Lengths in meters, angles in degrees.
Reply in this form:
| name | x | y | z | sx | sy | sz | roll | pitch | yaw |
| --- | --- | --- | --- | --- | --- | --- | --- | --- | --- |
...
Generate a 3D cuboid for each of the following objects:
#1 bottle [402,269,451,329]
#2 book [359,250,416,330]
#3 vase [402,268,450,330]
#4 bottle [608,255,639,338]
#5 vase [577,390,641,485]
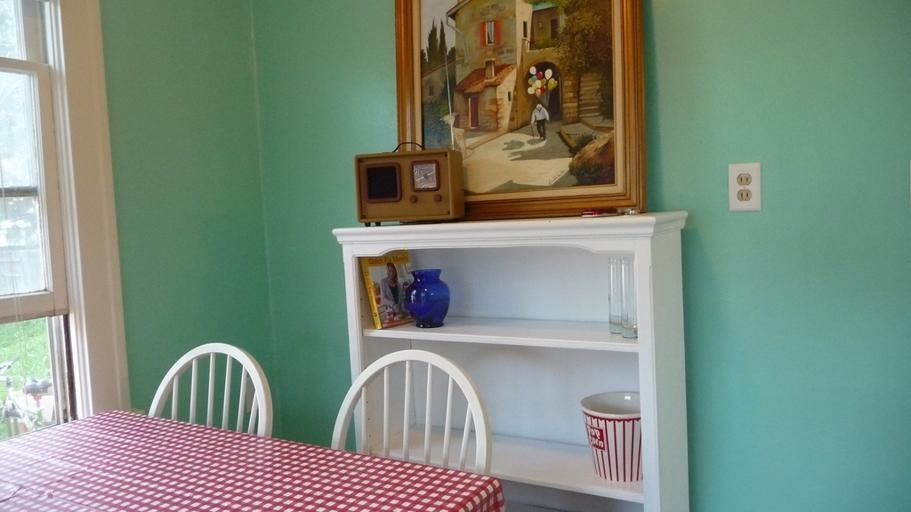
| name | x | y | z | sx | sy | sz | roll | pitch | yaw |
| --- | --- | --- | --- | --- | --- | --- | --- | --- | --- |
| bottle | -0.127 | 0.200 | 2.949 | 0.227 | 0.244 | 0.221 | -4 | 2 | -37 |
| book | -0.323 | 0.172 | 2.934 | 0.336 | 0.345 | 0.060 | -14 | 1 | -39 |
| vase | -0.125 | 0.197 | 2.948 | 0.224 | 0.241 | 0.222 | -2 | 1 | -31 |
| bottle | 0.708 | 0.168 | 2.610 | 0.073 | 0.338 | 0.250 | -2 | 6 | -16 |
| vase | 0.670 | 0.771 | 2.725 | 0.321 | 0.264 | 0.333 | -1 | -4 | -4 |
